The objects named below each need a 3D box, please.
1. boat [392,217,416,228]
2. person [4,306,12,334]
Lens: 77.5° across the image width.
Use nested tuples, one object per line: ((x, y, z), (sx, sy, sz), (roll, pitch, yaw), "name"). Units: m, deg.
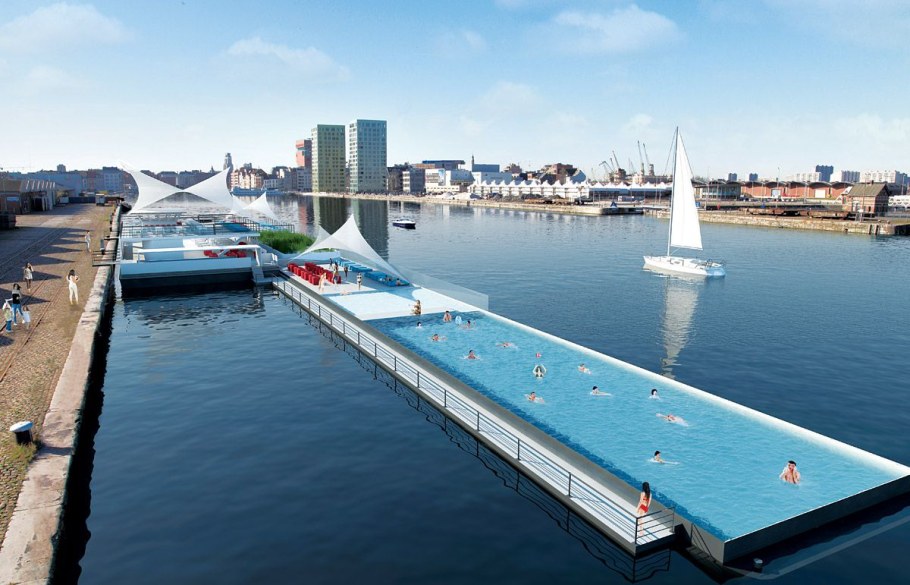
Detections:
((-12.525, -15.461, 130.953), (3.311, 2.217, 9.364), (-6, 8, -34), "boat")
((-28.361, 1.684, 35.722), (0.464, 1.518, 1.473), (-10, 15, -40), "person")
